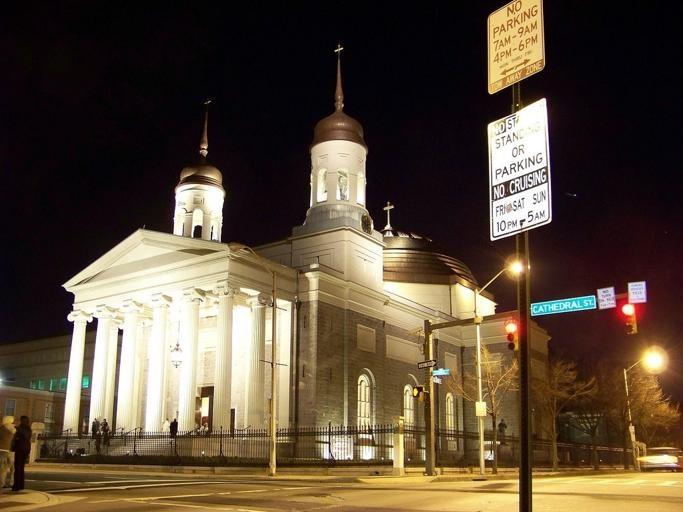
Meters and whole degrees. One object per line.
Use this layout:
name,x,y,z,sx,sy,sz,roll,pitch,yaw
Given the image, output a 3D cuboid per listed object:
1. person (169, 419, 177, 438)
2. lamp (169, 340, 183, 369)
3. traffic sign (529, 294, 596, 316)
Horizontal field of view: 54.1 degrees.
person,-10.649,10.959,42.573,0.485,1.394,2.091,5,-22,-13
lamp,-11.695,6.813,47.622,0.713,2.183,3.359,4,-22,-11
traffic sign,5.783,1.342,17.736,1.358,0.337,0.180,5,-24,-24
